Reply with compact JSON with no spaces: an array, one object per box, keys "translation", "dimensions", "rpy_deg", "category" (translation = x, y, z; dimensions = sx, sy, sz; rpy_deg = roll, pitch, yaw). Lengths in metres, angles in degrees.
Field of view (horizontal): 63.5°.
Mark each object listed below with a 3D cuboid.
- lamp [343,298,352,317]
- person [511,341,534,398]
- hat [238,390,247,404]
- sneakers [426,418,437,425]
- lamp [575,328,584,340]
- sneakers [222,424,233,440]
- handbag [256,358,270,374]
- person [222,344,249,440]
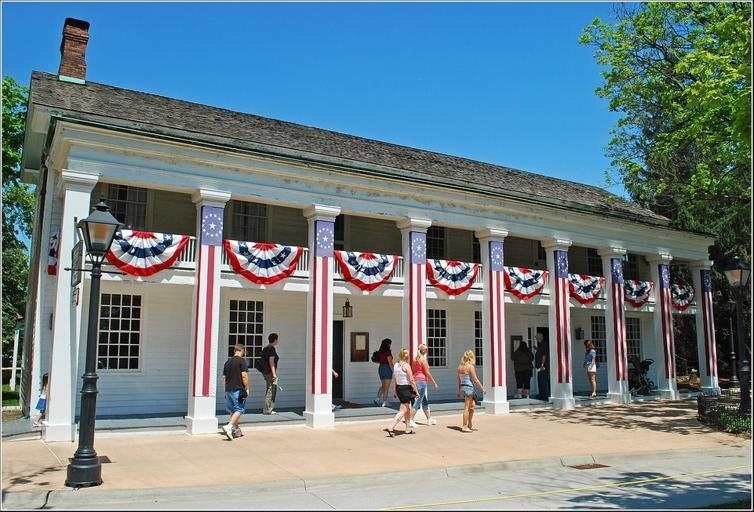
[{"translation":[-1.044,1.861,21.942],"dimensions":[0.378,0.664,0.738],"rpy_deg":[-1,-13,-3],"category":"lamp"},{"translation":[5.728,4.439,23.727],"dimensions":[0.764,2.149,1.007],"rpy_deg":[-5,-14,13],"category":"person"},{"translation":[-3.541,3.732,16.141],"dimensions":[0.192,0.343,0.296],"rpy_deg":[2,-13,-12],"category":"hat"},{"translation":[1.728,5.153,18.827],"dimensions":[0.318,0.200,0.161],"rpy_deg":[-1,1,-37],"category":"sneakers"},{"translation":[9.146,3.486,27.372],"dimensions":[0.564,0.562,0.190],"rpy_deg":[7,-16,-32],"category":"lamp"},{"translation":[-4.004,4.755,16.351],"dimensions":[0.205,0.417,0.145],"rpy_deg":[-17,12,-13],"category":"sneakers"},{"translation":[-3.415,3.370,18.666],"dimensions":[0.450,0.563,0.179],"rpy_deg":[3,5,9],"category":"handbag"},{"translation":[-3.799,3.681,16.438],"dimensions":[0.624,2.475,1.372],"rpy_deg":[2,-14,-12],"category":"person"}]
